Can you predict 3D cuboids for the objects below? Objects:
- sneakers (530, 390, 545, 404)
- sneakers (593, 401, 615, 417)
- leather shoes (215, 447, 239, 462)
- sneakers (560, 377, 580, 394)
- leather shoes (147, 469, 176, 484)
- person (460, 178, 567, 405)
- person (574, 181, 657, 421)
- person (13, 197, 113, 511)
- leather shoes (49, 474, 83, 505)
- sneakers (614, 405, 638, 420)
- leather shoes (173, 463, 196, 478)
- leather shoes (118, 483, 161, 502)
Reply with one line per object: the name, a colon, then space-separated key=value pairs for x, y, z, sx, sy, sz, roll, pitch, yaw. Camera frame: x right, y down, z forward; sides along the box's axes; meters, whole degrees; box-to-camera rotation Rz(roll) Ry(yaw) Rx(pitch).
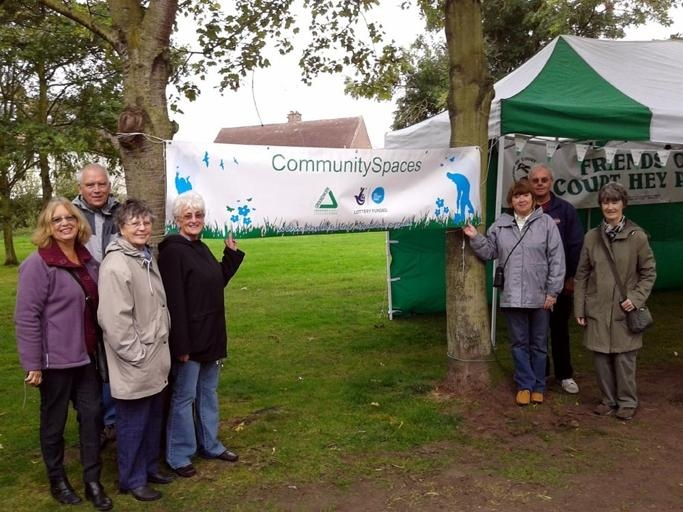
sneakers: x=2.254 y=1.633 z=6.984 sx=0.146 sy=0.153 sz=0.092 roll=-3 pitch=-2 yaw=-4
sneakers: x=2.934 y=1.710 z=6.777 sx=0.254 sy=0.115 sz=0.115 roll=6 pitch=-8 yaw=-34
leather shoes: x=-1.124 y=1.976 z=6.023 sx=0.178 sy=0.077 sz=0.110 roll=-1 pitch=6 yaw=12
sneakers: x=2.771 y=1.571 z=7.365 sx=0.112 sy=0.105 sz=0.254 roll=-5 pitch=11 yaw=1
leather shoes: x=-1.684 y=2.060 z=5.662 sx=0.213 sy=0.094 sz=0.105 roll=-1 pitch=7 yaw=2
person: x=2.064 y=0.403 z=7.026 sx=0.971 sy=2.554 sz=0.588 roll=2 pitch=10 yaw=20
person: x=2.976 y=0.482 z=6.646 sx=0.798 sy=2.537 sz=0.490 roll=2 pitch=10 yaw=20
person: x=-2.453 y=0.835 z=5.346 sx=0.667 sy=2.663 sz=0.653 roll=-4 pitch=10 yaw=-15
leather shoes: x=-2.463 y=2.081 z=5.439 sx=0.374 sy=0.156 sz=0.149 roll=7 pitch=5 yaw=35
sneakers: x=3.088 y=1.711 z=6.602 sx=0.106 sy=0.114 sz=0.282 roll=-7 pitch=-8 yaw=32
leather shoes: x=-1.483 y=2.062 z=5.807 sx=0.238 sy=0.103 sz=0.091 roll=-2 pitch=0 yaw=16
leather shoes: x=-1.808 y=2.116 z=5.437 sx=0.330 sy=0.148 sz=0.151 roll=-1 pitch=3 yaw=8
